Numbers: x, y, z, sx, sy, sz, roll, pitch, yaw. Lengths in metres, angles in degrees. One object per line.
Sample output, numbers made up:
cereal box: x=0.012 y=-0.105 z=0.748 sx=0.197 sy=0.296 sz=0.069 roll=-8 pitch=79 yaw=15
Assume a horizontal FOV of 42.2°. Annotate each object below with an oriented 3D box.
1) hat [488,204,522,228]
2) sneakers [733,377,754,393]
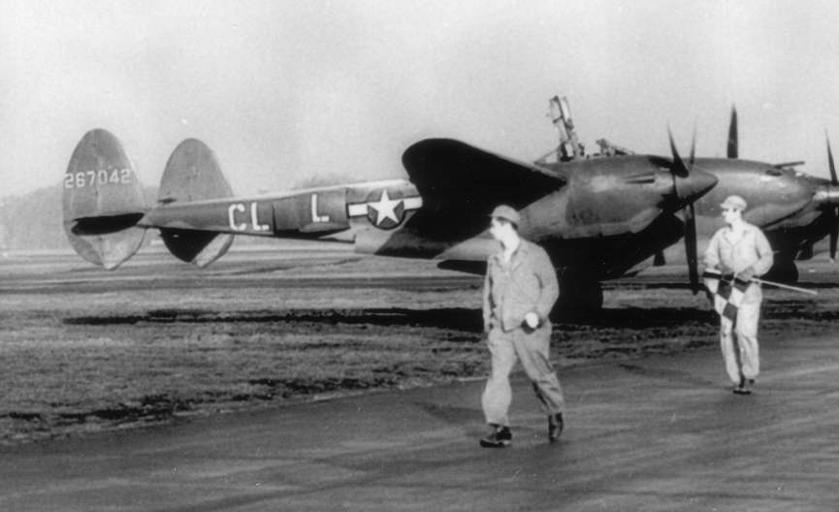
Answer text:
hat: x=1.147 y=-0.556 z=14.288 sx=0.455 sy=0.143 sz=0.305 roll=14 pitch=-4 yaw=1
sneakers: x=4.638 y=1.843 z=15.524 sx=0.296 sy=0.218 sz=0.174 roll=-2 pitch=14 yaw=2
